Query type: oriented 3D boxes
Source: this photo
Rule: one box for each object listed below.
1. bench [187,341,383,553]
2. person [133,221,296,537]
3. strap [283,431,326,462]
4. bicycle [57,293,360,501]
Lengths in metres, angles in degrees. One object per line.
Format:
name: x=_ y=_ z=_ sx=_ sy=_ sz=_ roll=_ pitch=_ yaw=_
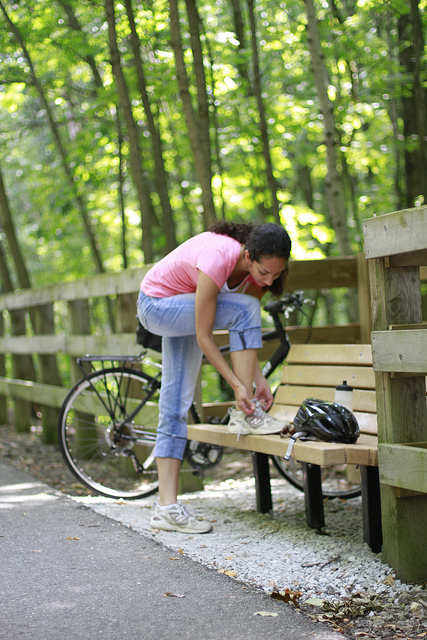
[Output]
bench: x=0.385 y=0.613 z=3.356 sx=0.550 sy=0.783 sz=1.328 roll=-14 pitch=2 yaw=-29
person: x=0.004 y=0.318 z=3.173 sx=0.852 sy=1.588 sz=1.133 roll=-8 pitch=6 yaw=-4
strap: x=0.368 y=0.507 z=2.463 sx=0.161 sy=0.082 sz=0.218 roll=-6 pitch=5 yaw=9
bicycle: x=0.076 y=0.487 z=3.861 sx=2.207 sy=1.161 sz=0.889 roll=-1 pitch=-10 yaw=6
